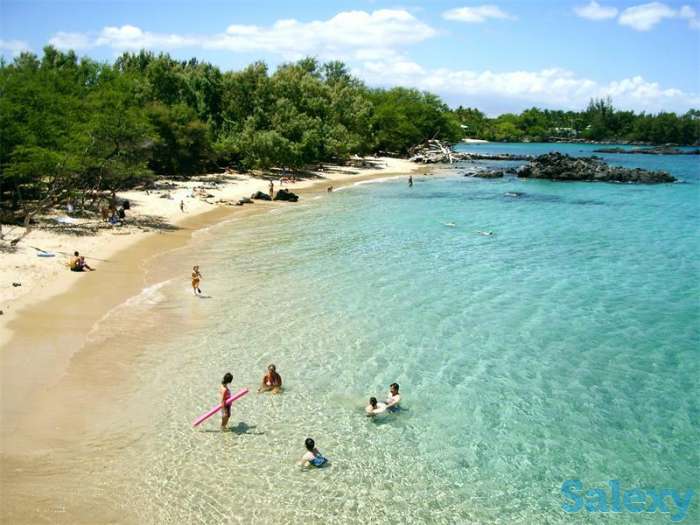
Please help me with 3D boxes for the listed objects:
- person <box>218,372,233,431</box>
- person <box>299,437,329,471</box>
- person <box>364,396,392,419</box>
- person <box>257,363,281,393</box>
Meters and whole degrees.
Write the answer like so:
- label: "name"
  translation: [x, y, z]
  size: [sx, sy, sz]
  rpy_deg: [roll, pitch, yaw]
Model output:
- label: "person"
  translation: [-4.673, 5.158, 21.051]
  size: [0.538, 2.180, 0.901]
  rpy_deg: [-5, 17, -11]
- label: "person"
  translation: [-1.270, 6.848, 19.809]
  size: [0.791, 0.849, 0.693]
  rpy_deg: [-28, 41, -16]
- label: "person"
  translation: [1.131, 5.753, 22.025]
  size: [0.543, 0.716, 0.485]
  rpy_deg: [-17, 40, 1]
- label: "person"
  translation: [-3.297, 4.685, 23.082]
  size: [1.011, 1.157, 0.702]
  rpy_deg: [-3, 16, -8]
